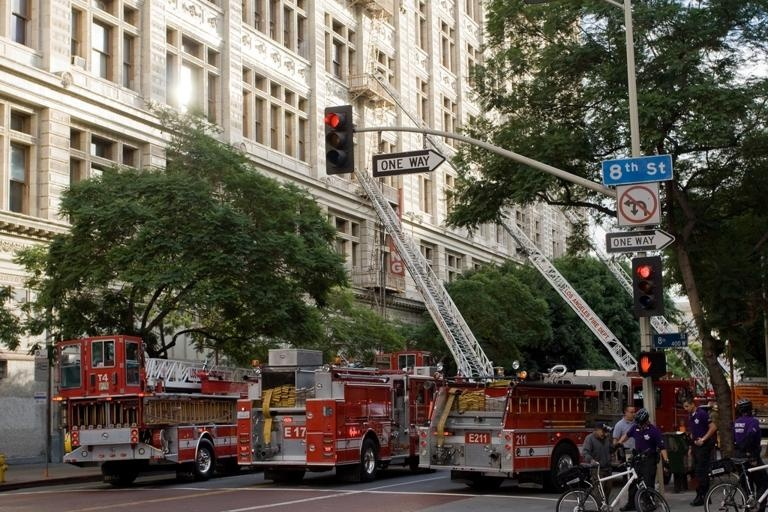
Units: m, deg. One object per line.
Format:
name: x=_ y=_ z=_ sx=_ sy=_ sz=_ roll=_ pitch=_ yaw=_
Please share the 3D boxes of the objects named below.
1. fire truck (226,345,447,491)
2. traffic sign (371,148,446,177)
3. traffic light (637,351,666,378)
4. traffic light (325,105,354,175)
fire truck: x=-1.538 y=5.876 z=47.807 sx=4.845 sy=4.221 sz=9.792 roll=-2 pitch=-6 yaw=29
traffic sign: x=0.696 y=-2.985 z=39.285 sx=2.279 sy=0.760 sz=0.548 roll=-6 pitch=-10 yaw=13
traffic light: x=8.177 y=3.224 z=38.265 sx=0.810 sy=0.793 sz=0.566 roll=-5 pitch=-10 yaw=9
traffic light: x=-1.334 y=-3.518 z=38.167 sx=0.913 sy=1.983 sz=0.648 roll=-2 pitch=-5 yaw=5
